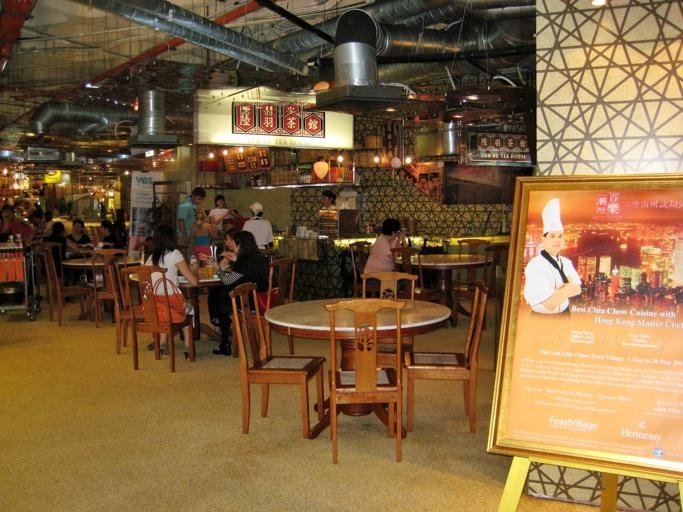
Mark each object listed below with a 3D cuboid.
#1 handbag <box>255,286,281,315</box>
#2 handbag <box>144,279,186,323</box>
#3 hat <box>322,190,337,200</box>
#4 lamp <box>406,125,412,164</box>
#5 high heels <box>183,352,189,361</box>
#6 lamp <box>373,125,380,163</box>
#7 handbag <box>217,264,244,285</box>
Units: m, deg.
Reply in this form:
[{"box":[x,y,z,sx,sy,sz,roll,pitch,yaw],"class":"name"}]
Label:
[{"box":[-0.737,0.455,6.003,0.237,0.317,0.264,7,9,35],"class":"handbag"},{"box":[-1.818,0.480,6.118,0.263,0.504,0.398,0,9,5],"class":"handbag"},{"box":[-0.192,-1.069,10.268,0.265,0.186,0.178,-6,4,-2],"class":"hat"},{"box":[1.499,-2.460,12.717,0.160,0.669,0.173,0,10,4],"class":"lamp"},{"box":[-1.754,1.154,6.633,0.042,0.113,0.047,-3,5,1],"class":"high heels"},{"box":[0.800,-2.288,12.614,0.155,0.589,0.173,-1,10,-1],"class":"lamp"},{"box":[-1.188,0.205,6.165,0.202,0.095,0.259,-2,7,-35],"class":"handbag"}]
